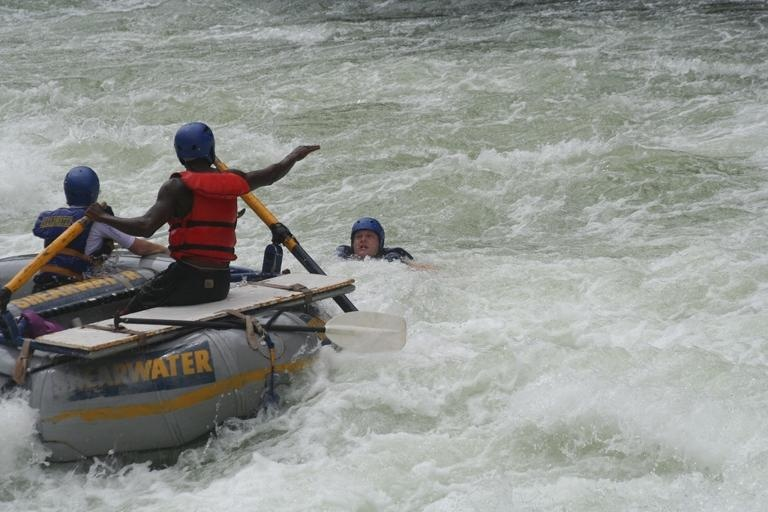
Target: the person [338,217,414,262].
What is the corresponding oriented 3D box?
[{"bbox_3d":[-0.322,-0.401,18.594,1.110,0.607,1.467,1,12,-4],"label":"person"}]
